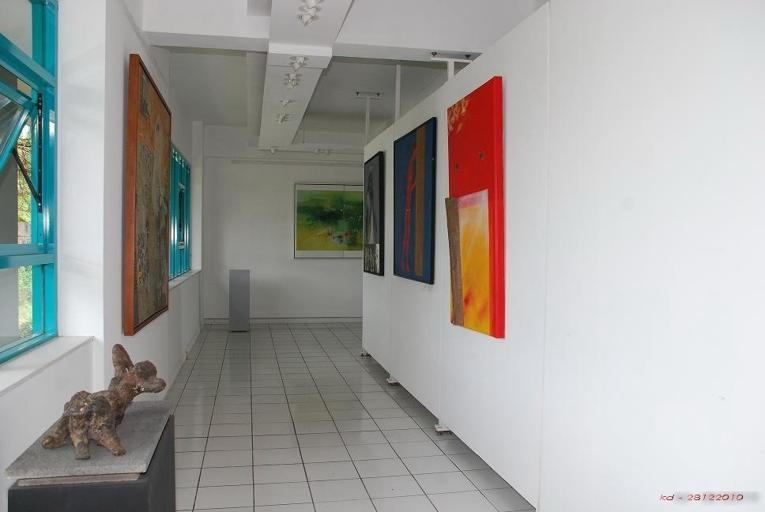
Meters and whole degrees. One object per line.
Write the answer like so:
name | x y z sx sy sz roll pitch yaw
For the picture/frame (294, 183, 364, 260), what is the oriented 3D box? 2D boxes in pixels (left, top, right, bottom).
picture/frame | -1.119 -0.785 11.363 1.712 1.779 0.039 0 24 -9
